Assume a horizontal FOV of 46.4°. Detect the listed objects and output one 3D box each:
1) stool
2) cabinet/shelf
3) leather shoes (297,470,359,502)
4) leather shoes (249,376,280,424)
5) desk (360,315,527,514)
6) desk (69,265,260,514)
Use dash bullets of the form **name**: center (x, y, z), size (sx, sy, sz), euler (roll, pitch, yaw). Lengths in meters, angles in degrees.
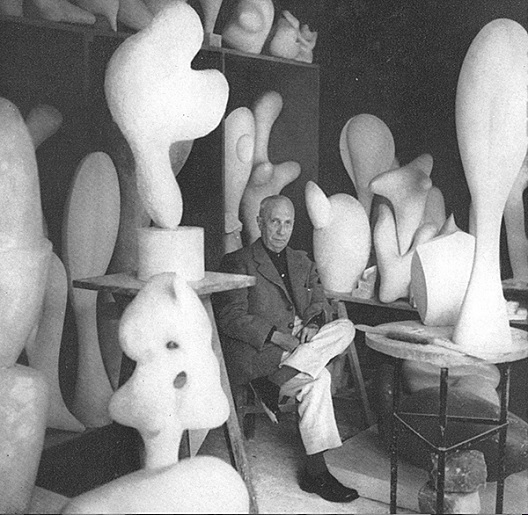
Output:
- **stool**: center (0.043, 0.679, 3.088), size (0.304, 0.516, 0.370), euler (1, 0, 9)
- **cabinet/shelf**: center (-0.232, -0.208, 3.108), size (1.122, 2.589, 1.434), euler (-4, 14, 0)
- **leather shoes**: center (0.283, 0.987, 2.766), size (0.264, 0.134, 0.108), euler (5, 4, 27)
- **leather shoes**: center (0.004, 0.657, 2.987), size (0.174, 0.074, 0.205), euler (-5, 18, -6)
- **desk**: center (0.703, 0.526, 2.617), size (0.636, 0.983, 0.696), euler (-2, 4, -32)
- **desk**: center (-0.264, 0.497, 1.767), size (0.464, 0.914, 0.733), euler (-1, 7, -3)
